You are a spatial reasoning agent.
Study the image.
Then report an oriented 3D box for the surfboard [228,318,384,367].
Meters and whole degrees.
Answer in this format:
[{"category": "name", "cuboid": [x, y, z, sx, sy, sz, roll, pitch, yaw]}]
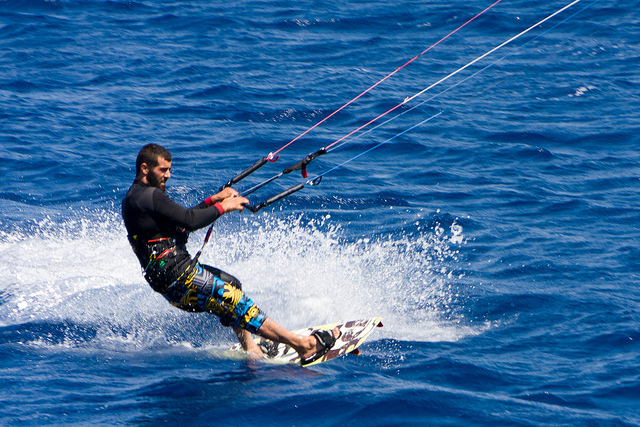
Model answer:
[{"category": "surfboard", "cuboid": [-0.269, 2.231, 16.129, 0.446, 0.952, 3.377, 30, 12, 27]}]
